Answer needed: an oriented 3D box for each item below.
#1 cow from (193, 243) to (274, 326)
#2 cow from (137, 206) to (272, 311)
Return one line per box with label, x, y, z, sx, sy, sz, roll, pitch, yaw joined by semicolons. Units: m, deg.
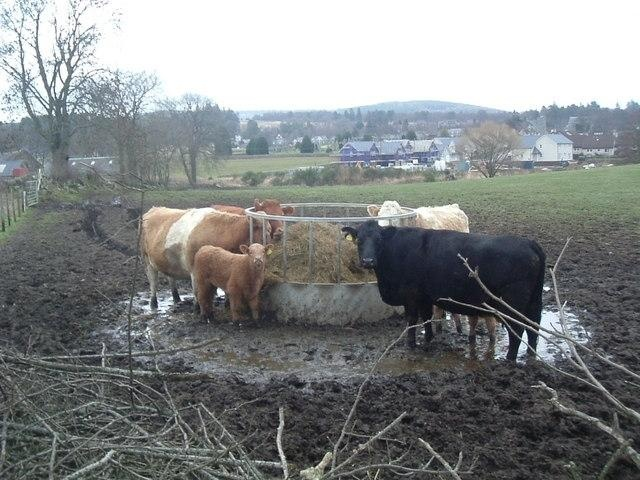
cow;-1.541;0.797;11.128;1.933;1.373;0.833;-1;0;38
cow;-2.349;0.503;12.528;3.756;2.280;1.344;3;5;33
